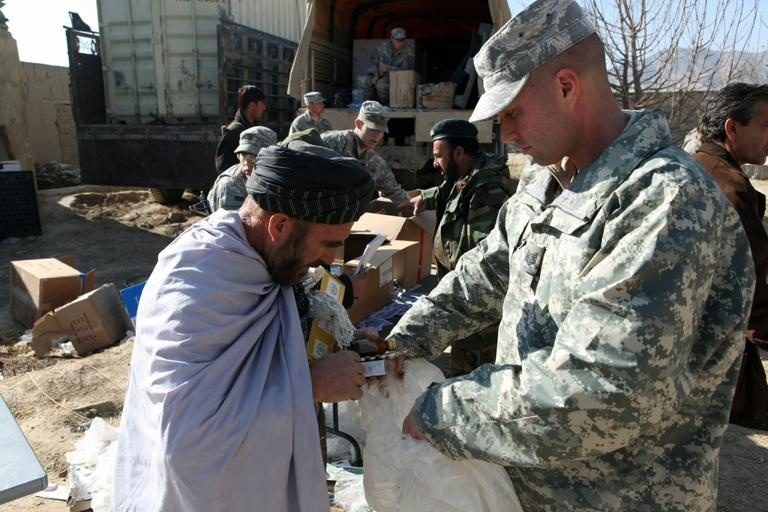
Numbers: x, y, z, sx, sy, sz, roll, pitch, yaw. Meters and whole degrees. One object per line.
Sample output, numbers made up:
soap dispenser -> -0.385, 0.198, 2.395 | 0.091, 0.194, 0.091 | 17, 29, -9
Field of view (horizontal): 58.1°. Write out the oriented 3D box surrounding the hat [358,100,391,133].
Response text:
hat -> -0.068, -1.394, 6.938 | 0.239, 0.188, 0.335 | 3, 32, -43

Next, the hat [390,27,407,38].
hat -> 0.193, -3.028, 9.355 | 0.253, 0.105, 0.356 | 1, 35, 4

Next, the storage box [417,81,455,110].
storage box -> 0.626, -1.969, 8.475 | 0.390, 0.266, 0.401 | 6, 21, 17

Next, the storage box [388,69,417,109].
storage box -> 0.364, -2.111, 8.862 | 0.492, 0.474, 0.274 | 11, 15, 16

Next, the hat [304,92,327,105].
hat -> -0.804, -1.854, 8.076 | 0.244, 0.092, 0.185 | -8, 23, -25
